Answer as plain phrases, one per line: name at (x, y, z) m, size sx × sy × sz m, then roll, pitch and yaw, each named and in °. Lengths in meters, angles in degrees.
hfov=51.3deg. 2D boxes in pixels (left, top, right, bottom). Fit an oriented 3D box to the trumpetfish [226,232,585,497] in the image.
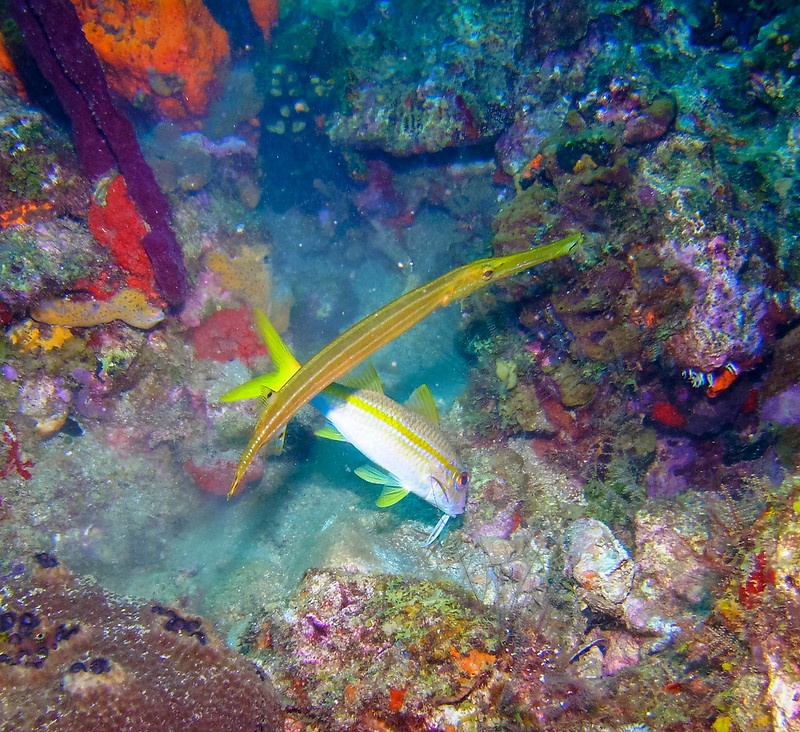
trumpetfish at (0.101, 0.072, 8.284) m, size 3.177 × 1.018 × 0.360 m, roll -42°, pitch 59°, yaw -4°
